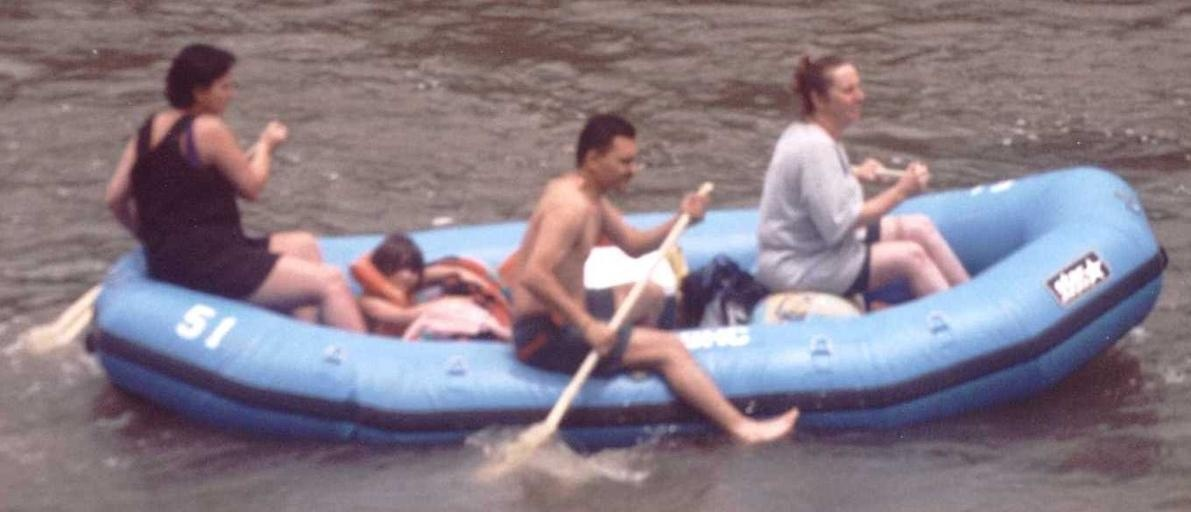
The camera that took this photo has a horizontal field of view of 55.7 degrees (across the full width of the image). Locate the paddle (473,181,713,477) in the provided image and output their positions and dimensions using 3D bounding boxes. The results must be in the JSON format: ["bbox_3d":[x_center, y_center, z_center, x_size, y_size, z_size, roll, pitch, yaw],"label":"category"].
[{"bbox_3d":[0.006,0.792,10.388,0.619,0.263,3.622,44,95,15],"label":"paddle"}]

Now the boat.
[{"bbox_3d":[0.572,0.819,10.685,8.523,1.188,3.593,-4,25,0],"label":"boat"}]
